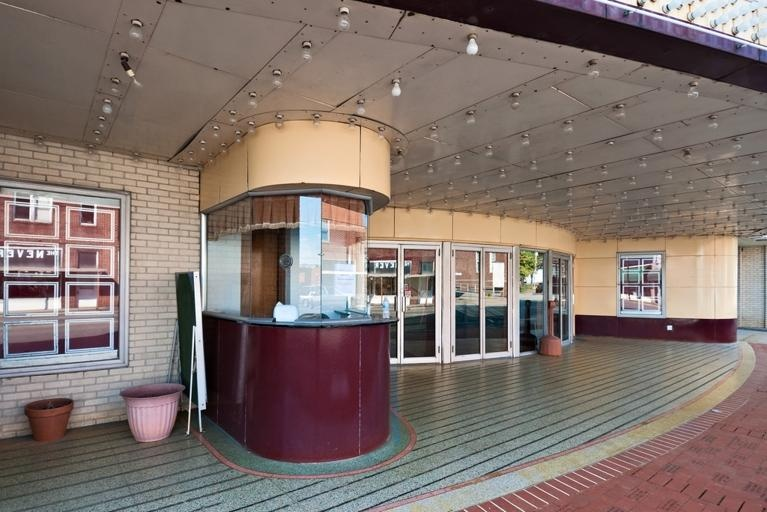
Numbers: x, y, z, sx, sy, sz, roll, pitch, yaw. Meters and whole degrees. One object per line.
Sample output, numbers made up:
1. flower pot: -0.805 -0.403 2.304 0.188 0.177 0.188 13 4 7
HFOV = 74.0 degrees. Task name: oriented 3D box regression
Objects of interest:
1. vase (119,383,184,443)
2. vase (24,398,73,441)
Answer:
1. vase: -3.172 2.193 7.010 0.797 0.591 0.791 -3 -7 12
2. vase: -4.530 2.235 6.949 0.550 0.416 0.550 1 1 26
